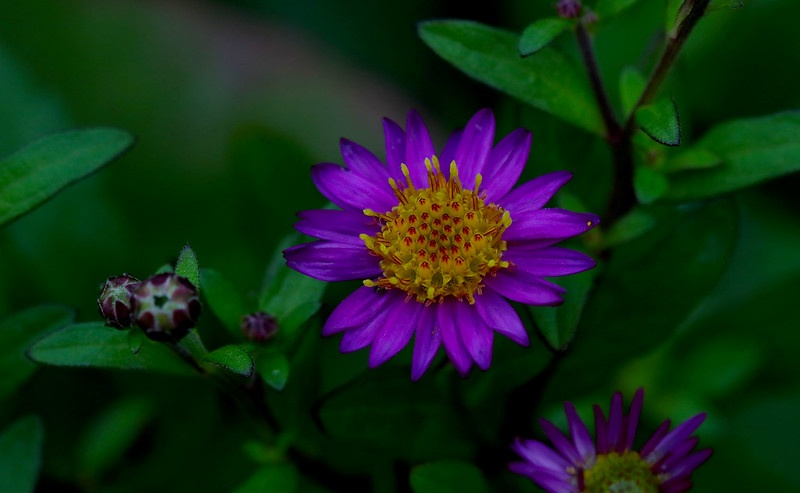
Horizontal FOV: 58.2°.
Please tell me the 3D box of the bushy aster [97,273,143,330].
[{"bbox_3d":[-0.895,0.176,2.330,0.144,0.165,0.092,21,-12,-9],"label":"bushy aster"}]
